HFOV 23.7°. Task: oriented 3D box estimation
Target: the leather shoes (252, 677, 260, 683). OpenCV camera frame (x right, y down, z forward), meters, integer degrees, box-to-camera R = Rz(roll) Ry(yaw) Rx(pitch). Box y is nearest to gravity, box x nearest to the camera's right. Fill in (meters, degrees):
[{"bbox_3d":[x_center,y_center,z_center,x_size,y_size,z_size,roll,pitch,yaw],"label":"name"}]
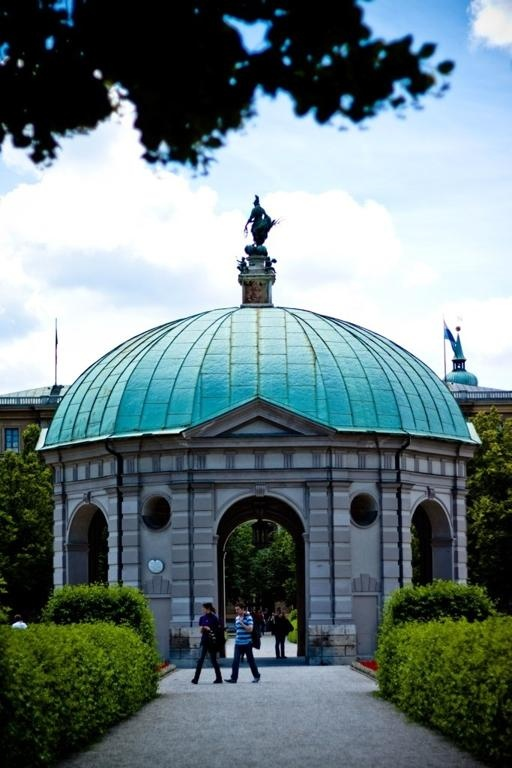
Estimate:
[{"bbox_3d":[0.016,7.033,28.905,0.084,0.164,0.241,-10,-26,30],"label":"leather shoes"}]
